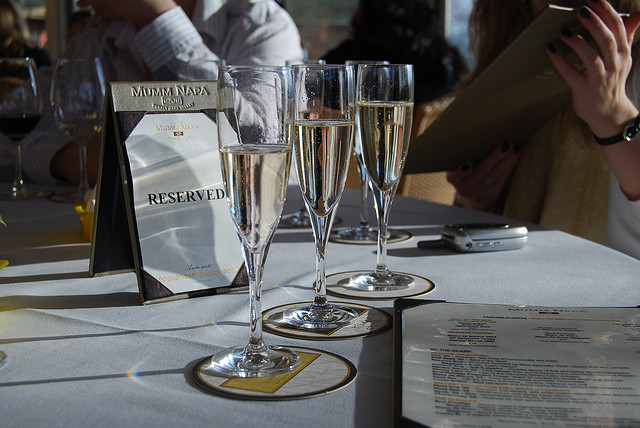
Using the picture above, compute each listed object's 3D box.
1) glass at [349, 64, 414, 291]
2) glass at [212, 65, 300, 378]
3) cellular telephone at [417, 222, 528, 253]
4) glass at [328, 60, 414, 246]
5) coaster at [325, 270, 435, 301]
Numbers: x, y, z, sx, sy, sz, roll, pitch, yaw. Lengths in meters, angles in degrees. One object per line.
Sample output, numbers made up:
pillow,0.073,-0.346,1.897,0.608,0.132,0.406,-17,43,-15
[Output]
glass,0.103,-0.070,1.039,0.112,0.444,0.101,-4,18,-21
glass,-0.106,0.014,0.747,0.113,0.416,0.118,-2,16,-22
cellular telephone,0.347,0.051,1.277,0.246,0.058,0.159,-4,8,-11
glass,0.101,-0.097,1.314,0.169,0.527,0.163,-2,18,-10
coaster,0.108,0.135,1.046,0.224,0.008,0.225,2,6,17
